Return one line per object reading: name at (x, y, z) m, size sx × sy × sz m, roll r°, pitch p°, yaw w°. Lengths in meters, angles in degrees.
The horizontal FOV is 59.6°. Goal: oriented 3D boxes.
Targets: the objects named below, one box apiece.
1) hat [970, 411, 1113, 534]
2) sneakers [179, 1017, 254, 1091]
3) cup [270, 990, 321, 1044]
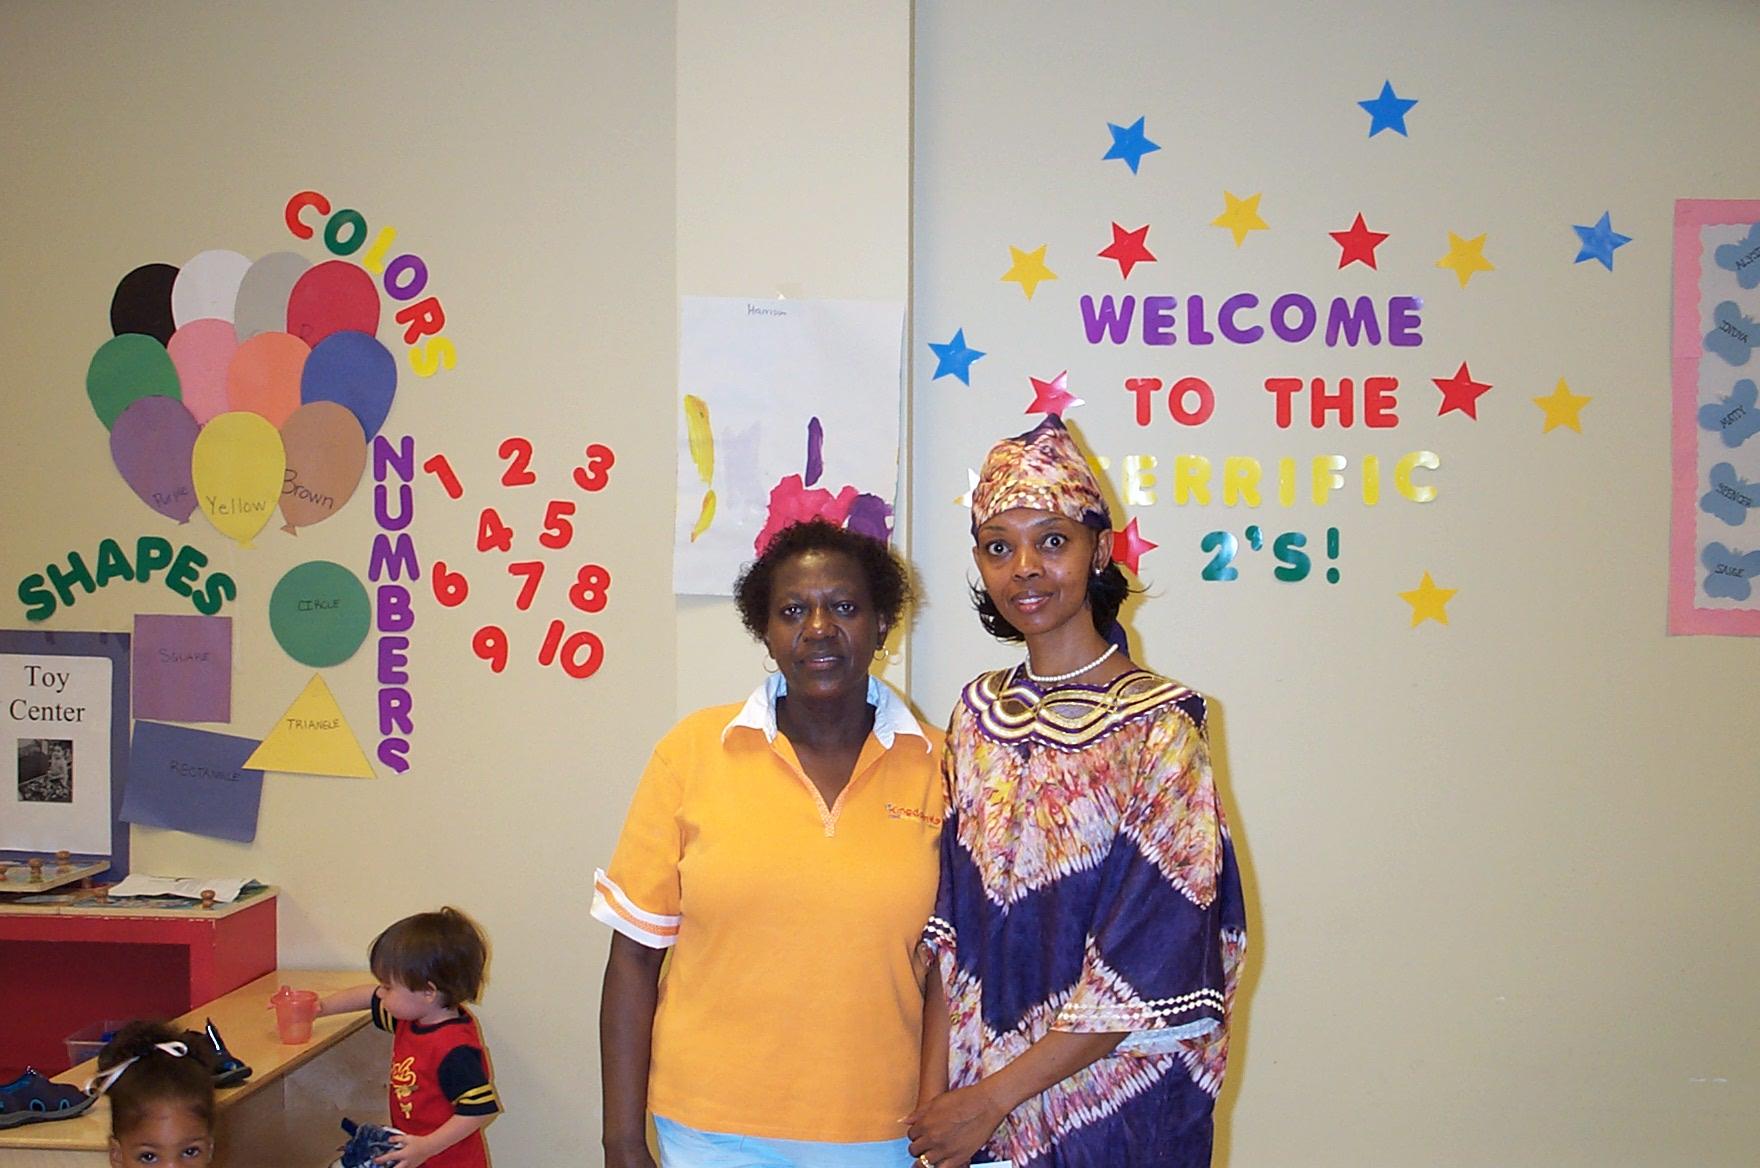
hat at (0.316, -0.219, 2.990) m, size 0.183 × 0.200 × 0.264 m, roll 2°, pitch -8°, yaw -3°
sneakers at (-1.472, 1.052, 3.443) m, size 0.075 × 0.097 × 0.222 m, roll -16°, pitch 9°, yaw -32°
cup at (-1.350, 1.004, 3.580) m, size 0.107 × 0.111 × 0.107 m, roll 1°, pitch 0°, yaw 0°
